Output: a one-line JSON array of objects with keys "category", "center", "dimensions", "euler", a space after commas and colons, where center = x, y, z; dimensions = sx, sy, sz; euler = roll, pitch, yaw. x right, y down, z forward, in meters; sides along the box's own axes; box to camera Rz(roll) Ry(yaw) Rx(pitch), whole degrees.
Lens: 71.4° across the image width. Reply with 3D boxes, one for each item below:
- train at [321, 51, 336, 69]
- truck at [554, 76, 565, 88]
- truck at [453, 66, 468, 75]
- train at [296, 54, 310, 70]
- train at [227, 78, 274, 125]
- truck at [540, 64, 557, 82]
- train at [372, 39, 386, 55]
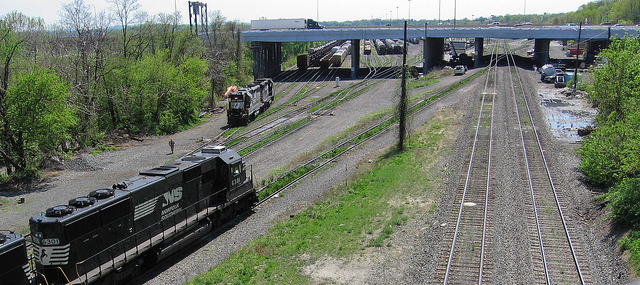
[{"category": "train", "center": [3.156, -28.751, 150.882], "dimensions": [2.671, 3.090, 14.145], "euler": [1, 29, 17]}, {"category": "truck", "center": [56.984, -14.492, 104.988], "dimensions": [2.132, 2.263, 2.675], "euler": [4, 18, 22]}, {"category": "truck", "center": [37.972, -19.721, 118.928], "dimensions": [2.252, 1.388, 4.310], "euler": [-1, 23, 29]}, {"category": "train", "center": [-5.434, -27.139, 147.795], "dimensions": [4.166, 4.493, 6.478], "euler": [2, 17, 16]}, {"category": "train", "center": [-15.614, -9.931, 101.072], "dimensions": [5.204, 6.478, 21.632], "euler": [1, 17, 7]}, {"category": "truck", "center": [57.037, -17.393, 110.578], "dimensions": [3.053, 3.742, 4.130], "euler": [2, 17, 16]}, {"category": "train", "center": [28.273, -44.137, 201.806], "dimensions": [3.113, 3.598, 17.659], "euler": [-5, 30, 2]}]
